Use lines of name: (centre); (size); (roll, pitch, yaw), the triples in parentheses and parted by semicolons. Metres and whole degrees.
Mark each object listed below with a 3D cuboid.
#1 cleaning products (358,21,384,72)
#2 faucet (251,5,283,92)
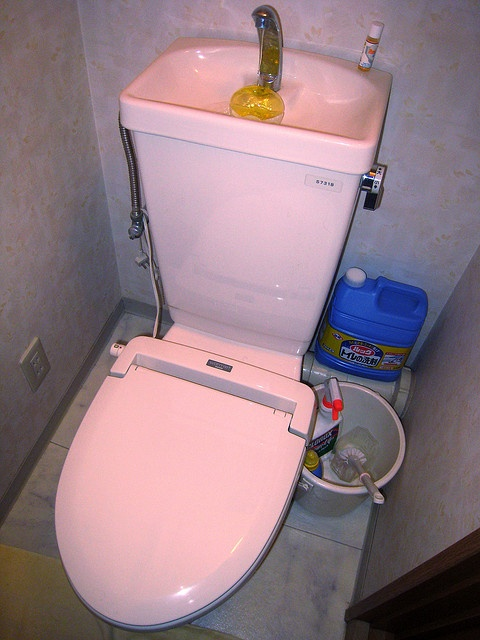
cleaning products: (0.186, -0.392, 0.700); (0.025, 0.063, 0.023); (9, 38, 10)
faucet: (0.040, -0.384, 0.691); (0.041, 0.116, 0.065); (4, 39, 4)
